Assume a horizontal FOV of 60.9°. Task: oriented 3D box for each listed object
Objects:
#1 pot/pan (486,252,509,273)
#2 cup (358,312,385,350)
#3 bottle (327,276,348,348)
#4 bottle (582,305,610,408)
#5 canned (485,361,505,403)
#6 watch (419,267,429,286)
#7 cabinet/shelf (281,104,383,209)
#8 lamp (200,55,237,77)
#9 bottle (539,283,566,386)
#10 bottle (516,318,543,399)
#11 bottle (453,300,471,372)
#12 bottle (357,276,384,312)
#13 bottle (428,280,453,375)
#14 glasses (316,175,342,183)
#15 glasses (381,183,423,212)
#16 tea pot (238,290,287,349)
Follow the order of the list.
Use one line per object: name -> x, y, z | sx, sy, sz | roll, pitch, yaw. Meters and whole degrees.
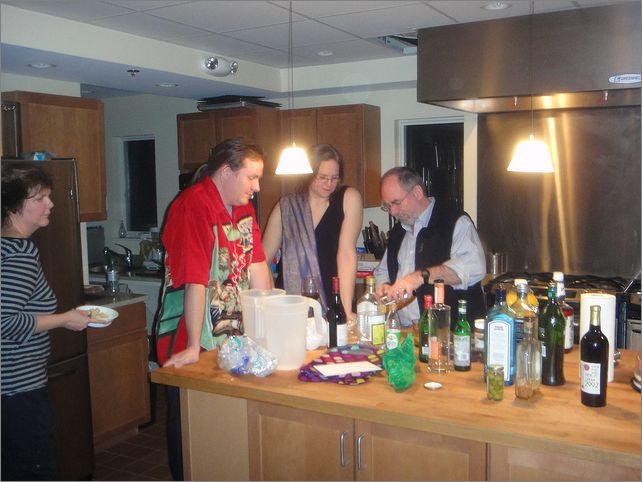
pot/pan -> 1.464, 0.167, 4.489 | 0.163, 0.167, 0.164 | -2, 1, -7
cup -> 0.239, 0.406, 2.518 | 0.122, 0.156, 0.120 | -1, 7, 0
bottle -> 0.080, 0.321, 2.526 | 0.094, 0.351, 0.260 | -1, 7, 3
bottle -> 1.002, 0.409, 1.998 | 0.094, 0.372, 0.118 | 2, 7, 27
canned -> 0.661, 0.523, 2.060 | 0.060, 0.141, 0.118 | 1, 7, 18
watch -> 0.538, 0.185, 2.820 | 0.054, 0.074, 0.051 | 4, 7, -24
cabinet/shelf -> 0.128, -0.688, 4.323 | 1.060, 1.050, 0.384 | 1, 0, 9
lamp -> -0.820, -1.475, 4.580 | 0.131, 0.185, 0.407 | 2, 8, 26
bottle -> 0.935, 0.367, 2.153 | 0.178, 0.382, 0.083 | -6, 8, -37
bottle -> 0.783, 0.431, 2.045 | 0.099, 0.314, 0.072 | 0, 6, 5
bottle -> 0.580, 0.379, 2.225 | 0.067, 0.330, 0.233 | 1, 7, 15
bottle -> 0.233, 0.250, 2.525 | 0.124, 0.190, 0.130 | -1, 7, 0
bottle -> 0.511, 0.339, 2.333 | 0.092, 0.395, 0.260 | 1, 7, 13
glasses -> 0.055, -0.378, 3.324 | 0.145, 0.043, 0.051 | -2, 7, -11
glasses -> 0.445, -0.242, 3.093 | 0.143, 0.043, 0.135 | -38, 13, -22
tea pot -> -0.280, 0.330, 2.464 | 0.235, 0.228, 0.155 | -6, 7, -39
